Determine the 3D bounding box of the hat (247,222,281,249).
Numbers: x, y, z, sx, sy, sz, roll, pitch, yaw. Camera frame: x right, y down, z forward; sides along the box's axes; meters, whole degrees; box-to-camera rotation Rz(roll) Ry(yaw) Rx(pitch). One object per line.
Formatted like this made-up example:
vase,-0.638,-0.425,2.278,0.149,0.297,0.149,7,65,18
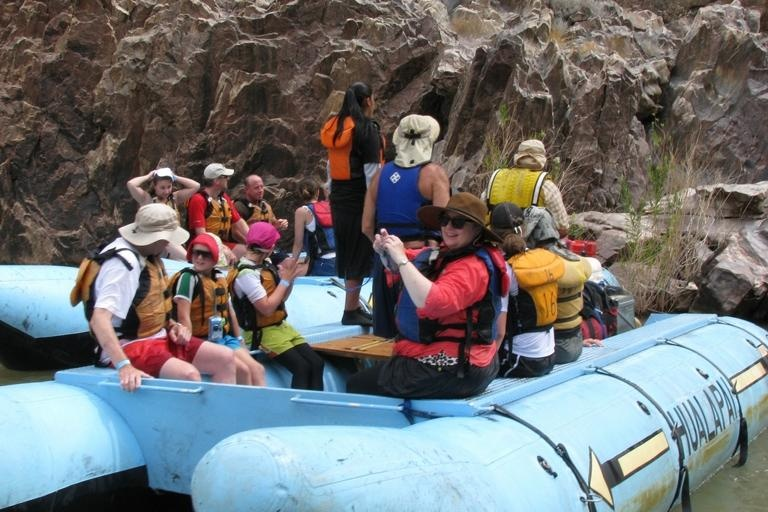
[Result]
hat,-1.221,-0.197,6.812,0.198,0.172,0.319,7,30,11

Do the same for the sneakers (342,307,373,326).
sneakers,-0.315,0.677,7.467,0.414,0.199,0.150,-1,4,-10

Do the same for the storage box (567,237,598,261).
storage box,2.457,-0.076,8.373,0.331,0.250,0.316,16,15,21

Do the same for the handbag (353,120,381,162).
handbag,-0.190,-1.188,6.987,0.302,0.314,0.173,19,27,37

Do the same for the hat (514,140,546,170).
hat,1.597,-1.089,7.398,0.322,0.323,0.331,5,7,38

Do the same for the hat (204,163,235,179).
hat,-2.111,-1.059,8.619,0.368,0.170,0.258,-8,28,-17

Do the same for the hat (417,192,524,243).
hat,0.706,-0.353,5.544,0.576,0.203,0.408,42,-28,-29
